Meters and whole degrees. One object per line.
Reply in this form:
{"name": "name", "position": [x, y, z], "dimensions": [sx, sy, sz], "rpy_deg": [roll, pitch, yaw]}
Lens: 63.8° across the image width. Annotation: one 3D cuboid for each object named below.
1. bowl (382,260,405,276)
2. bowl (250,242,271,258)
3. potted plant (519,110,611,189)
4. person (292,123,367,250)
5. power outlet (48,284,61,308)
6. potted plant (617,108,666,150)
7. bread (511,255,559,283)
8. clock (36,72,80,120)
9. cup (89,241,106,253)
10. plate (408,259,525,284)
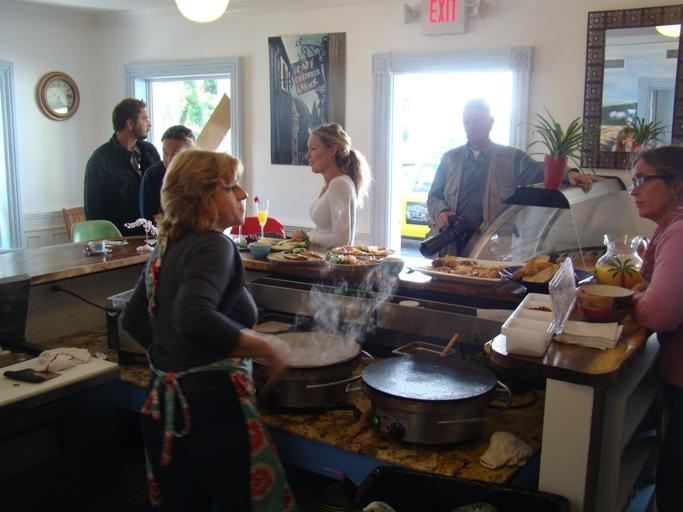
{"name": "bowl", "position": [0.235, 0.062, 2.535], "dimensions": [0.072, 0.059, 0.078], "rpy_deg": [-1, -4, 0]}
{"name": "bowl", "position": [-0.432, -0.030, 2.844], "dimensions": [0.082, 0.056, 0.085], "rpy_deg": [2, 2, 0]}
{"name": "potted plant", "position": [0.932, -0.436, 2.390], "dimensions": [0.238, 0.292, 0.275], "rpy_deg": [12, 9, 40]}
{"name": "person", "position": [-0.103, -0.401, 3.654], "dimensions": [0.546, 0.881, 0.492], "rpy_deg": [4, 4, 17]}
{"name": "power outlet", "position": [-1.369, 0.184, 2.624], "dimensions": [0.044, 0.097, 0.035], "rpy_deg": [-3, 13, -9]}
{"name": "potted plant", "position": [2.111, -0.828, 3.899], "dimensions": [0.263, 0.200, 0.261], "rpy_deg": [0, 11, -43]}
{"name": "bread", "position": [0.756, 0.062, 2.163], "dimensions": [0.156, 0.069, 0.097], "rpy_deg": [7, 16, 32]}
{"name": "clock", "position": [-3.293, -1.842, 6.307], "dimensions": [0.081, 0.662, 0.554], "rpy_deg": [1, 8, 28]}
{"name": "cup", "position": [-1.356, -0.047, 3.040], "dimensions": [0.064, 0.048, 0.066], "rpy_deg": [4, 3, 0]}
{"name": "plate", "position": [0.527, 0.068, 2.430], "dimensions": [0.247, 0.034, 0.182], "rpy_deg": [6, 14, 31]}
